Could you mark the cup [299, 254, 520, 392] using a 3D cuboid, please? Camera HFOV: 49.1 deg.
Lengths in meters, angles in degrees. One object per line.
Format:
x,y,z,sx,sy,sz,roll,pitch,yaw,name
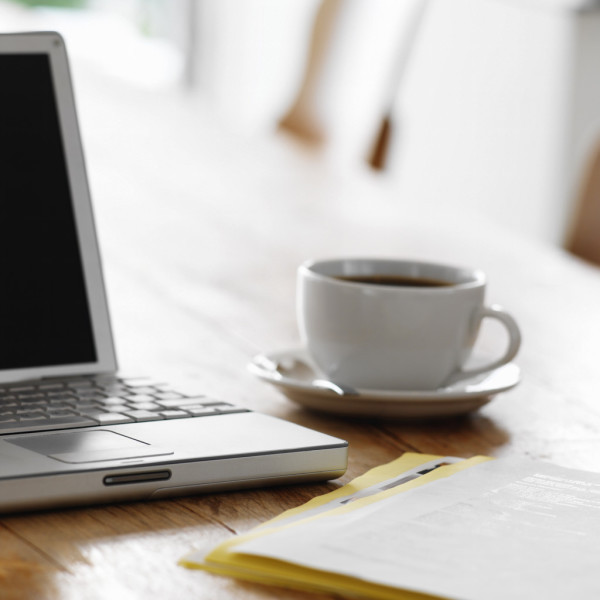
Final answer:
0.082,0.023,0.475,0.151,0.070,0.152,1,4,0,cup
